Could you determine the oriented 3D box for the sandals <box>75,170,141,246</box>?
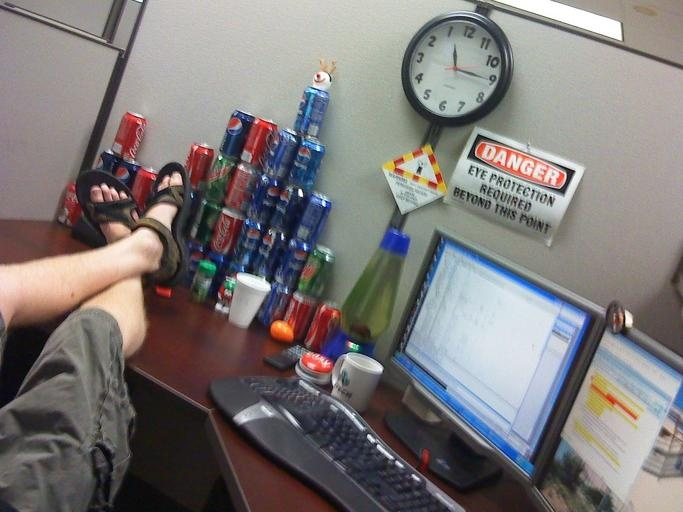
[{"bbox_3d":[-0.783,-0.124,1.687,0.142,0.330,0.086,-1,29,1],"label":"sandals"}]

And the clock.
[{"bbox_3d":[0.361,-0.552,1.466,0.326,0.352,0.055,5,3,21],"label":"clock"}]

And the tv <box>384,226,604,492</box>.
[{"bbox_3d":[0.347,0.248,1.114,0.073,0.400,0.453,11,20,-42],"label":"tv"}]

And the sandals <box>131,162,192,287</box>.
[{"bbox_3d":[-0.561,-0.106,1.576,0.153,0.453,0.119,-7,-9,24],"label":"sandals"}]
